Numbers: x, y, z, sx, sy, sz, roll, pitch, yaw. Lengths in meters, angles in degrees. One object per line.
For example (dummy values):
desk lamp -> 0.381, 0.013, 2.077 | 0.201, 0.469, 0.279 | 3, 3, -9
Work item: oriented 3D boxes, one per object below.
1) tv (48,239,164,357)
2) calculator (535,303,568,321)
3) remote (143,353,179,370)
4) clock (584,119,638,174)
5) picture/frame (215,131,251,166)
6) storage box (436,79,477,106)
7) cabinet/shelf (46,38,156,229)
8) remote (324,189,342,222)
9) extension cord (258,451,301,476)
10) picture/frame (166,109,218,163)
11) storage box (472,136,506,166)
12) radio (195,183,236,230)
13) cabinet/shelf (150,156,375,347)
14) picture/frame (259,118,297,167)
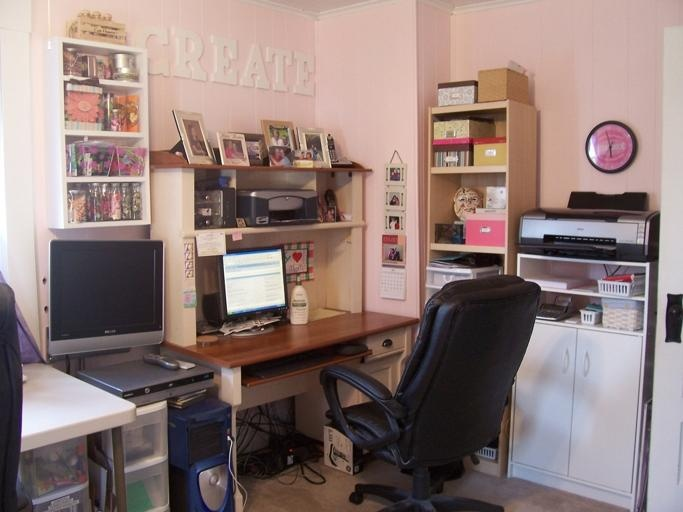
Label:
tv -> -1.264, 0.211, 2.930 | 0.624, 0.636, 0.064 | -1, 1, -37
calculator -> 1.290, 0.329, 3.380 | 0.109, 0.047, 0.141 | 4, 9, 37
remote -> -0.938, 0.557, 2.921 | 0.160, 0.039, 0.084 | 16, 3, 22
clock -> 1.652, -0.662, 3.382 | 0.327, 0.380, 0.042 | 5, 4, 44
picture/frame -> -0.651, -0.634, 3.340 | 0.021, 0.289, 0.245 | -14, -2, 38
storage box -> 0.741, -1.005, 3.560 | 0.187, 0.120, 0.194 | 2, 6, 30
cabinet/shelf -> -1.283, -0.629, 2.934 | 0.549, 0.952, 0.182 | -7, 8, -31
remote -> -0.047, -0.349, 3.879 | 0.083, 0.093, 0.258 | -4, 48, 0
extension cord -> -0.400, 1.332, 3.586 | 0.115, 0.039, 0.160 | 4, 8, 40
picture/frame -> -0.837, -0.675, 3.176 | 0.125, 0.298, 0.185 | 3, 9, 40
storage box -> 0.929, -0.637, 3.486 | 0.178, 0.137, 0.180 | 2, 3, 37
radio -> -0.763, -0.283, 3.279 | 0.260, 0.225, 0.191 | -2, 8, -16
cabinet/shelf -> -0.506, -0.034, 3.424 | 0.421, 0.999, 1.200 | 2, 4, 43
picture/frame -> -0.409, -0.710, 3.565 | 0.034, 0.427, 0.334 | -21, -21, 37
